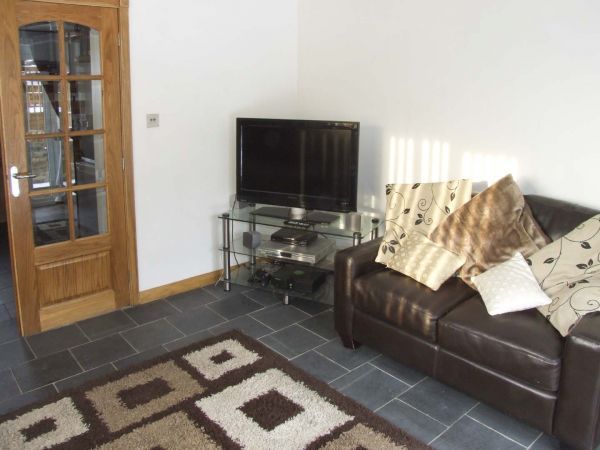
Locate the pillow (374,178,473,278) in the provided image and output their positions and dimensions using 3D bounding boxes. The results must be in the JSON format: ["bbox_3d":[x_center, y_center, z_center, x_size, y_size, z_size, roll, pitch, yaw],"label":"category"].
[{"bbox_3d":[0.866,0.006,3.512,0.160,0.643,0.678,16,-12,-42],"label":"pillow"}]

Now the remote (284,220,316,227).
[{"bbox_3d":[-0.001,-0.021,4.197,0.190,0.044,0.101,12,21,35],"label":"remote"}]

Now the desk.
[{"bbox_3d":[0.010,0.291,4.255,1.348,0.764,0.555,8,15,26],"label":"desk"}]

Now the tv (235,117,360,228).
[{"bbox_3d":[-0.008,-0.472,4.078,0.940,0.673,0.068,6,14,20],"label":"tv"}]

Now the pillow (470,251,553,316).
[{"bbox_3d":[1.294,0.386,2.910,0.318,0.111,0.374,-31,34,14],"label":"pillow"}]

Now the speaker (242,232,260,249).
[{"bbox_3d":[-0.417,0.125,4.152,0.138,0.145,0.138,-12,-15,34],"label":"speaker"}]
